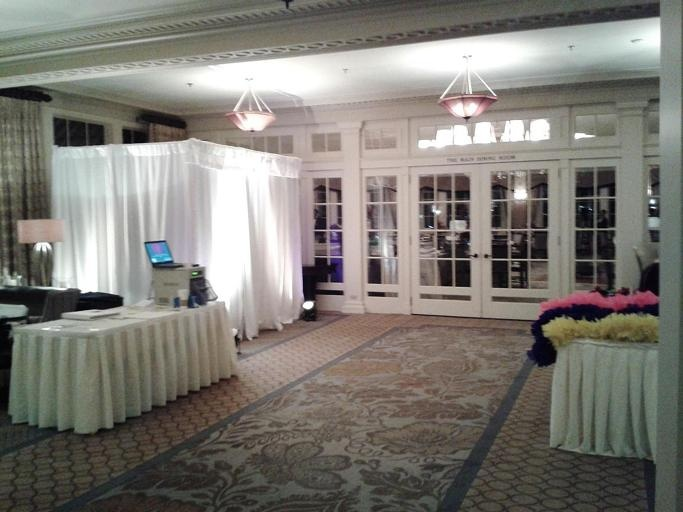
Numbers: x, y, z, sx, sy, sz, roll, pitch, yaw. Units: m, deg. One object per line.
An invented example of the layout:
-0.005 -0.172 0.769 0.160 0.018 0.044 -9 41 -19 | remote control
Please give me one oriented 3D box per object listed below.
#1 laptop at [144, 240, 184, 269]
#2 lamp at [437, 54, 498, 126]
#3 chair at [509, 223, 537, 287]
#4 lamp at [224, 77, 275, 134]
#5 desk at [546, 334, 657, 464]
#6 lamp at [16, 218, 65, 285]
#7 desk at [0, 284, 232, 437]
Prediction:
-2.153 -0.008 6.240 0.452 0.228 0.440 1 5 7 | laptop
1.962 -2.583 8.019 1.022 0.936 0.858 4 -8 -21 | lamp
3.130 0.060 9.038 0.379 0.999 0.170 1 9 16 | chair
-1.451 -2.492 8.551 1.132 0.791 0.978 -7 9 -13 | lamp
2.043 1.132 4.077 0.742 0.923 0.308 3 9 28 | desk
-4.395 -0.020 7.675 0.564 1.028 0.830 -6 9 -30 | lamp
-2.102 1.068 5.345 1.114 0.582 1.733 1 1 22 | desk
